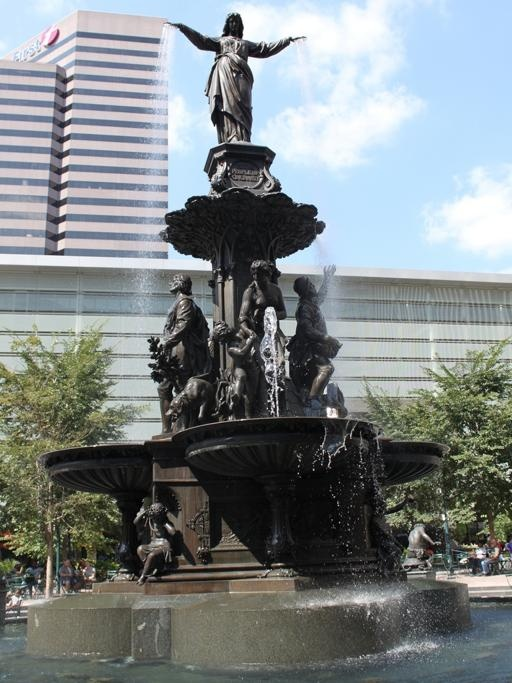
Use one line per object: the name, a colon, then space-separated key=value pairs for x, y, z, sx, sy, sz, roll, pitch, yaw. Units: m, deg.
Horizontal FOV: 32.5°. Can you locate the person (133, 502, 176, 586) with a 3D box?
person: x=-1.399 y=2.801 z=12.250 sx=0.542 sy=1.067 sz=0.948 roll=-2 pitch=-14 yaw=-8

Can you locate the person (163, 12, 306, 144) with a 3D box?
person: x=-0.519 y=-4.917 z=16.558 sx=1.650 sy=3.084 sz=1.010 roll=-4 pitch=-14 yaw=2
